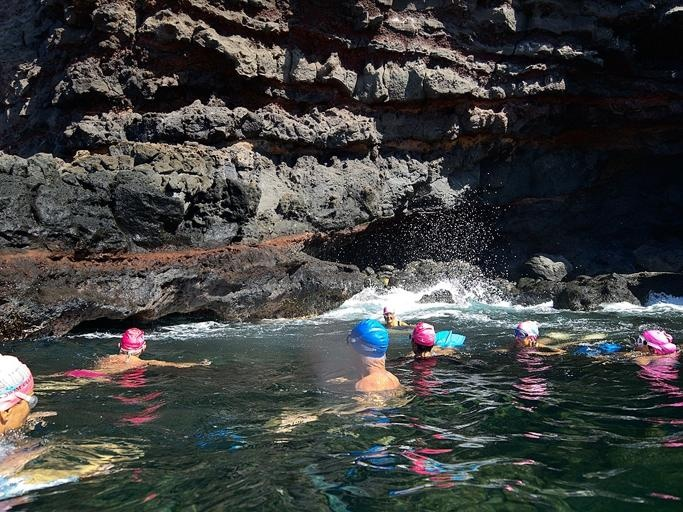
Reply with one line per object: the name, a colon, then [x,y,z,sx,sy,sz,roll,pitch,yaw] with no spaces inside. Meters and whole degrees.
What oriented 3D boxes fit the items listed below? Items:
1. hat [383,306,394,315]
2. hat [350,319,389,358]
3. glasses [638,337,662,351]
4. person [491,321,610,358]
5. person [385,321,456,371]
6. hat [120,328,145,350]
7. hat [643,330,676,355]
hat: [1.011,1.147,15.892,0.198,0.180,0.250,-1,2,4]
hat: [0.403,1.234,11.092,0.566,0.583,0.218,-1,3,-2]
glasses: [5.183,1.488,12.525,0.273,0.102,0.177,15,1,9]
person: [3.874,1.503,13.599,1.847,0.399,0.955,-2,2,3]
person: [1.377,1.621,13.140,1.165,0.353,0.317,-2,11,-23]
hat: [-3.626,1.398,12.867,0.415,0.135,0.438,2,21,-11]
hat: [5.350,1.447,12.515,0.392,0.367,0.474,-3,3,-34]
